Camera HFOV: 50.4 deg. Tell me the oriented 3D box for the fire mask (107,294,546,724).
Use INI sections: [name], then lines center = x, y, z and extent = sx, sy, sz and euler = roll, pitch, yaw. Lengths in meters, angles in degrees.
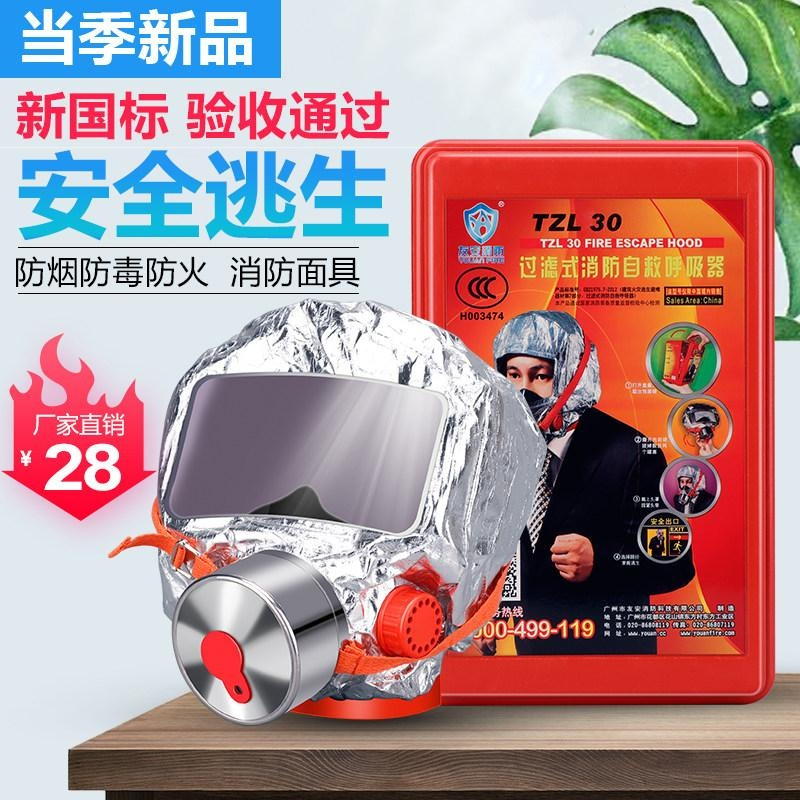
[fire mask]
center = -0.068, 0.101, 0.742
extent = 0.372, 0.300, 0.361
euler = 2, 19, 12
